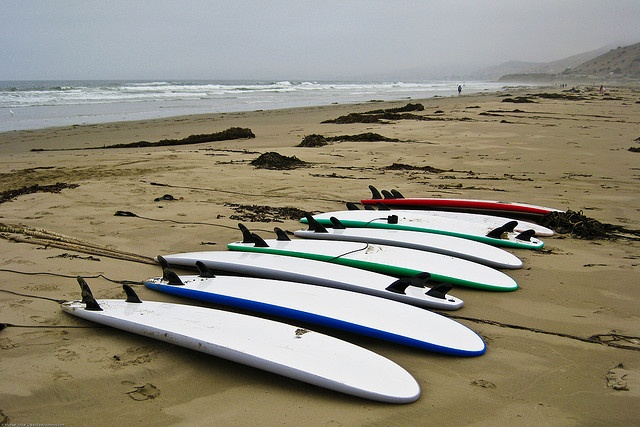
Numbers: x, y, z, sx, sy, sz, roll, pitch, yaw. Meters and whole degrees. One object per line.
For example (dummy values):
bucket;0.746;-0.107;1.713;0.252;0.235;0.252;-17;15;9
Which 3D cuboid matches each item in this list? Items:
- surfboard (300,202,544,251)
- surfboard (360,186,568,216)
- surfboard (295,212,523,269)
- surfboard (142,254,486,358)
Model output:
surfboard;0.788;0.291;7.289;4.765;0.383;0.852;6;17;16
surfboard;2.416;-0.200;7.815;3.575;0.277;0.430;2;22;13
surfboard;1.061;0.370;6.868;0.450;0.526;3.765;22;-6;-38
surfboard;-0.043;1.036;5.096;4.487;0.304;0.588;5;24;13
